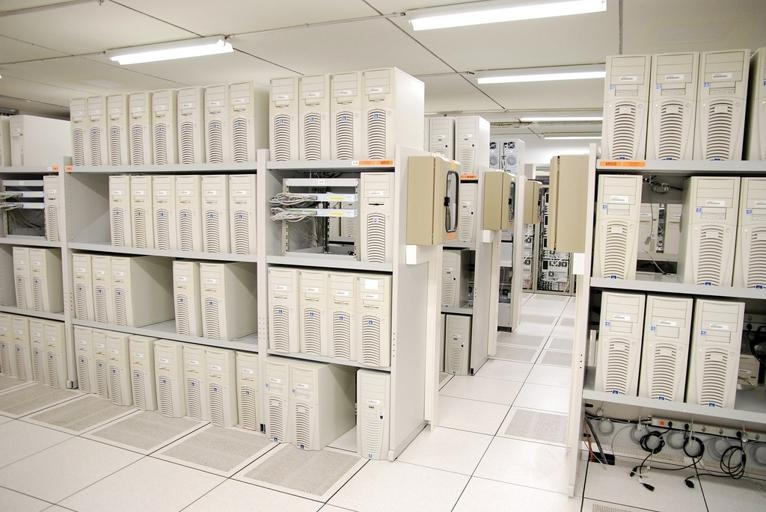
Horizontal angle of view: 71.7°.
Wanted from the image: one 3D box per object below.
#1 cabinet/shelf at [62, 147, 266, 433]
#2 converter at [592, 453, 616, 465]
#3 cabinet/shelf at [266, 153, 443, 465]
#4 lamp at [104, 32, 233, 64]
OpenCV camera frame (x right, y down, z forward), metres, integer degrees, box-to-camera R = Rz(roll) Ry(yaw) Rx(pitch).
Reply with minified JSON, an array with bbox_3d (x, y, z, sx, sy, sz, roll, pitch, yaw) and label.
[{"bbox_3d":[-2.117,0.279,5.768,2.995,2.625,0.984,4,9,24],"label":"cabinet/shelf"},{"bbox_3d":[2.017,1.855,4.840,0.166,0.100,0.090,-1,-4,29],"label":"converter"},{"bbox_3d":[-0.248,0.420,5.017,1.609,2.808,0.753,1,8,9],"label":"cabinet/shelf"},{"bbox_3d":[-2.641,-2.577,6.575,1.653,0.176,0.383,2,7,19],"label":"lamp"}]
